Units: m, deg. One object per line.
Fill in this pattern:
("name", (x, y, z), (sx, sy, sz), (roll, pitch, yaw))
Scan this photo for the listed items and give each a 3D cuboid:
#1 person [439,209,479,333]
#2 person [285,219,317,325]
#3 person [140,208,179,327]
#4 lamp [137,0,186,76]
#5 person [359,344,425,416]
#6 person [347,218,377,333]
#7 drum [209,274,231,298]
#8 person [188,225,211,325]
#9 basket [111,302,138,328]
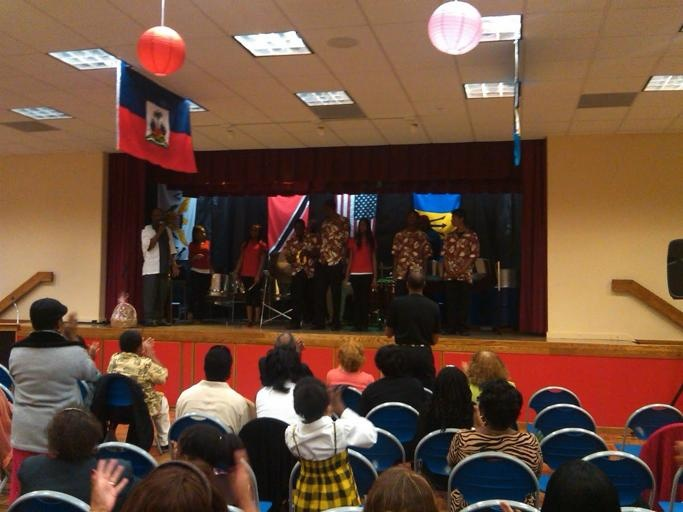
("person", (1.613, 0.221, 8.634), (0.459, 1.664, 0.452), (0, -5, 11))
("person", (-0.638, 0.269, 9.870), (0.451, 1.652, 1.666), (2, -5, -3))
("person", (-2.751, 0.162, 9.601), (0.387, 1.732, 0.644), (-1, -5, 29))
("lamp", (-1.486, -1.700, 5.233), (0.366, 0.381, 0.199), (2, -5, -9))
("person", (0.437, 1.036, 5.245), (0.422, 0.895, 0.287), (-1, 19, -1))
("person", (0.283, 0.256, 9.120), (0.421, 1.610, 0.393), (0, -5, 16))
("drum", (-1.819, 0.445, 9.579), (0.305, 0.340, 0.231), (3, -5, -12))
("person", (-2.462, 0.327, 11.031), (0.386, 1.605, 1.050), (2, -5, -13))
("basket", (-3.156, 0.858, 9.238), (0.327, 0.351, 0.348), (1, -7, 6))
